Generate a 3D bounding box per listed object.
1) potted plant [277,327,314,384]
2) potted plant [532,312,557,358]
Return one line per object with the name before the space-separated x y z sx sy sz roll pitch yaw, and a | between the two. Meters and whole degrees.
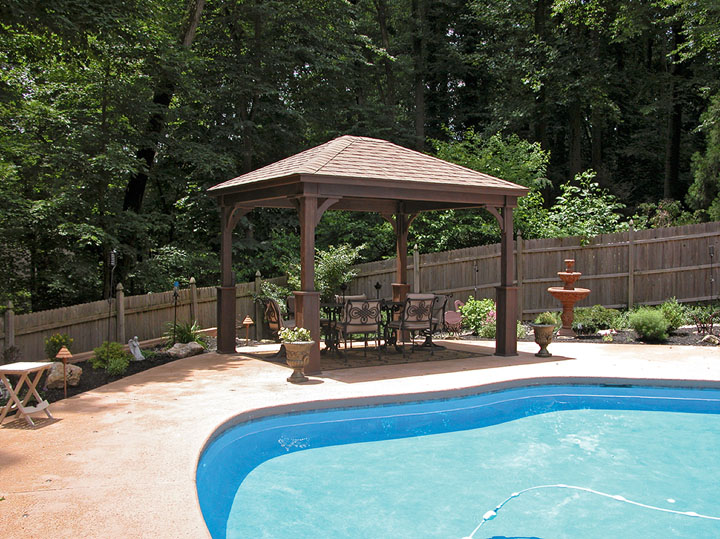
potted plant | -1.114 1.427 12.203 0.577 0.835 0.602 5 -7 -14
potted plant | 3.746 1.416 14.439 0.549 0.618 0.547 -1 -4 31
